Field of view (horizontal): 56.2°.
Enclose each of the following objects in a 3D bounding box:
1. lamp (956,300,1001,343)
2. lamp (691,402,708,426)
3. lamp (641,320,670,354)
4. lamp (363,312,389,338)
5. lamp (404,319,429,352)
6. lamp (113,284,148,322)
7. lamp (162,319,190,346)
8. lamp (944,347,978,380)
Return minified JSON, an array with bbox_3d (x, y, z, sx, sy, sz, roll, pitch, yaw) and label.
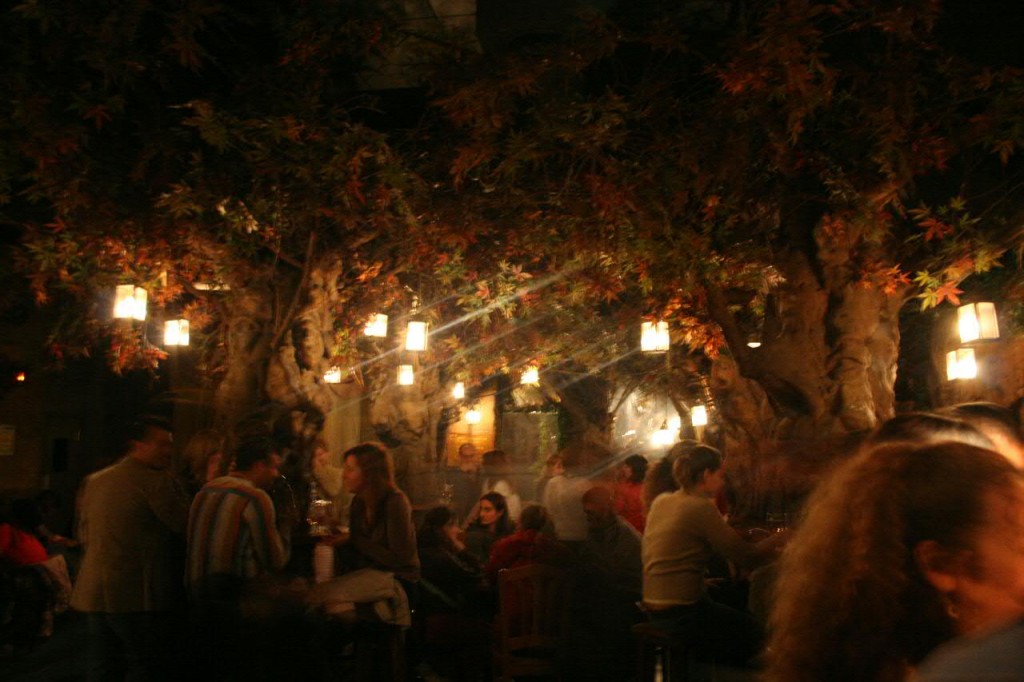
[{"bbox_3d":[4.595,-0.206,9.647,0.423,0.542,0.438,6,8,44],"label":"lamp"},{"bbox_3d":[3.137,1.234,16.111,0.393,0.357,0.374,1,5,11],"label":"lamp"},{"bbox_3d":[1.566,-0.070,10.545,0.396,0.347,0.373,-1,-12,4],"label":"lamp"},{"bbox_3d":[-1.617,-0.208,11.447,0.325,0.265,0.300,-2,-16,-7],"label":"lamp"},{"bbox_3d":[-1.192,-0.072,11.924,0.246,0.389,0.427,7,-28,-9],"label":"lamp"},{"bbox_3d":[-3.833,-0.387,9.636,0.378,0.475,0.353,0,-2,-3],"label":"lamp"},{"bbox_3d":[-3.780,-0.106,10.805,0.306,0.280,0.306,2,-3,26],"label":"lamp"},{"bbox_3d":[5.103,0.258,11.001,0.441,0.388,0.413,0,3,2],"label":"lamp"}]
